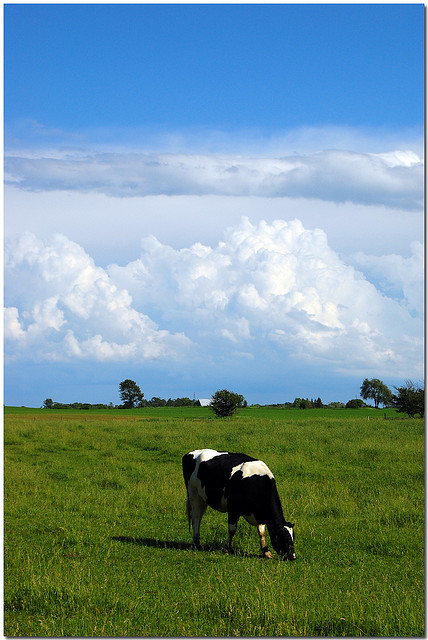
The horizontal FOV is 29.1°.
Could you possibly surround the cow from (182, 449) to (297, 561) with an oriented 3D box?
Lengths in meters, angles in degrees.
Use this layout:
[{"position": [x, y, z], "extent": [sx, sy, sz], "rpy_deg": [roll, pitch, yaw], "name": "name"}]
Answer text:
[{"position": [0.479, 4.302, 19.439], "extent": [1.126, 2.182, 3.787], "rpy_deg": [4, -6, -40], "name": "cow"}]
